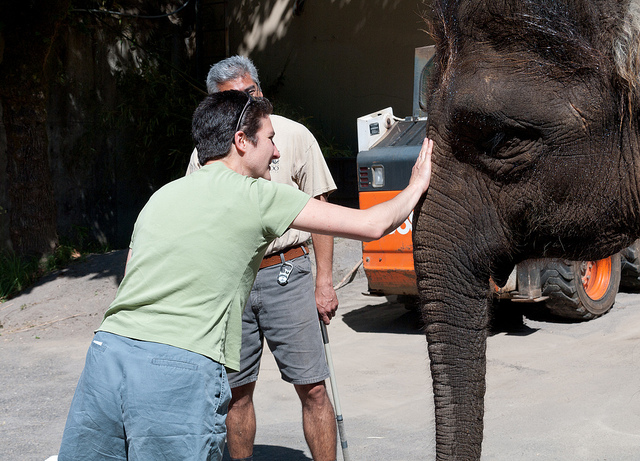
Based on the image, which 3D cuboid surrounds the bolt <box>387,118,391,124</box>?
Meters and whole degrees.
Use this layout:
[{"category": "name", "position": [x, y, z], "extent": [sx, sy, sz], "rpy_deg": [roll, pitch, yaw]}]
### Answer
[{"category": "bolt", "position": [0.699, -1.110, 6.887], "extent": [0.040, 0.052, 0.006], "rpy_deg": [3, -9, -8]}]

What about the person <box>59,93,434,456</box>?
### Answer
[{"category": "person", "position": [-0.449, 0.186, 2.910], "extent": [1.339, 1.545, 0.494], "rpy_deg": [-4, 8, -24]}]

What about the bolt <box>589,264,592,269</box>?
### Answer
[{"category": "bolt", "position": [2.878, 0.380, 7.178], "extent": [0.045, 0.054, 0.049], "rpy_deg": [-1, 3, 5]}]

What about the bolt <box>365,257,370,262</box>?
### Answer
[{"category": "bolt", "position": [0.476, 0.287, 6.702], "extent": [0.049, 0.051, 0.012], "rpy_deg": [2, -4, 5]}]
